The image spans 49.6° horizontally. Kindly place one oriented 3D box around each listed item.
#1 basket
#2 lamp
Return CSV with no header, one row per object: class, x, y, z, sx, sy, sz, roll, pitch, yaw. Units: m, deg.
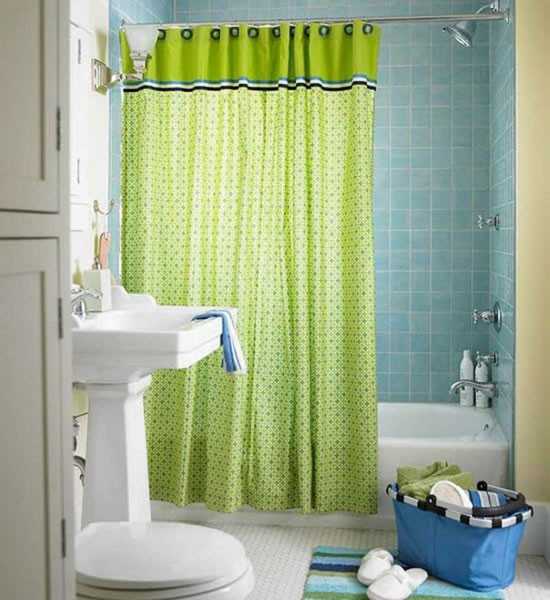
basket,0.633,0.807,2.090,0.488,0.367,0.308,2,5,23
lamp,-0.562,-0.922,2.342,0.228,0.319,0.216,0,5,0
